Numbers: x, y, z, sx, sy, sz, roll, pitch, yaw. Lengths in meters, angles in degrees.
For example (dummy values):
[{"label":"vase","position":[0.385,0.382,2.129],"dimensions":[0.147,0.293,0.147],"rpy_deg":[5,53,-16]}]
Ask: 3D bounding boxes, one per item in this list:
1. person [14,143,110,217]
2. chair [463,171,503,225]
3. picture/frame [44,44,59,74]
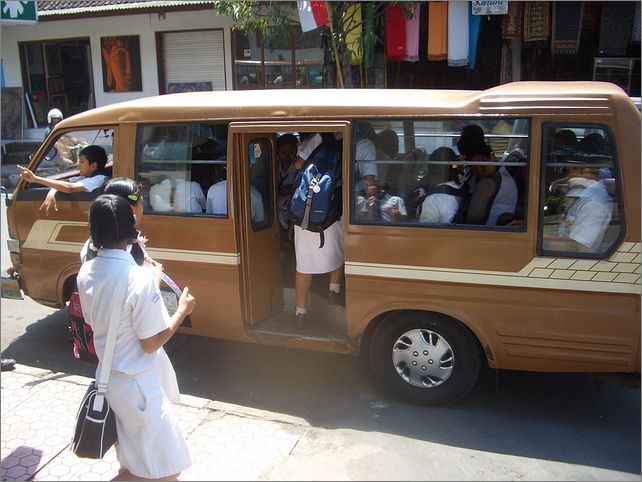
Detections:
[{"label":"person","position":[-2.913,-0.705,5.675],"dimensions":[1.127,0.893,0.743],"rpy_deg":[-7,16,-5]},{"label":"chair","position":[1.479,-0.401,4.406],"dimensions":[0.300,0.472,0.216],"rpy_deg":[5,15,19]},{"label":"picture/frame","position":[-9.874,-6.677,17.671],"dimensions":[0.861,1.090,0.086],"rpy_deg":[7,11,18]}]
